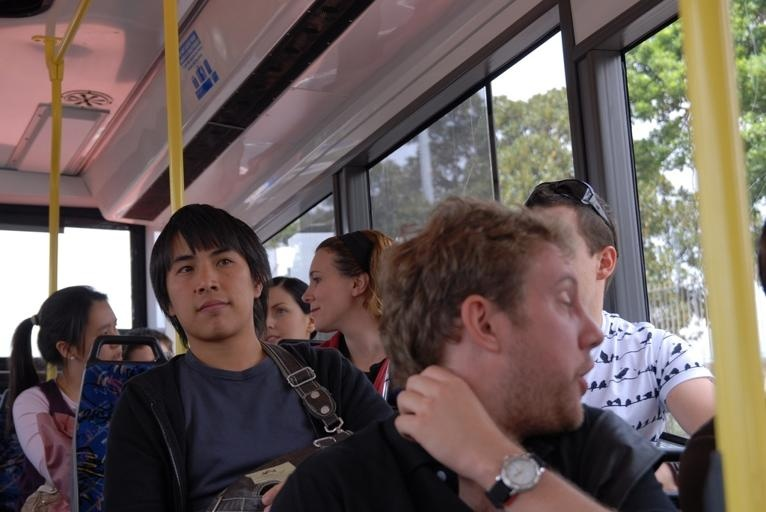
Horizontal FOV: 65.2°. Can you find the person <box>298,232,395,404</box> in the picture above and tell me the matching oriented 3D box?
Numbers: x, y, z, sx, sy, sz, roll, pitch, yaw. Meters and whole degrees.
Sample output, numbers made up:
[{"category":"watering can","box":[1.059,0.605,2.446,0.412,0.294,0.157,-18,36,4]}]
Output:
[{"category":"person","box":[-0.179,0.506,3.793,0.657,1.343,0.694,0,-27,1]}]
